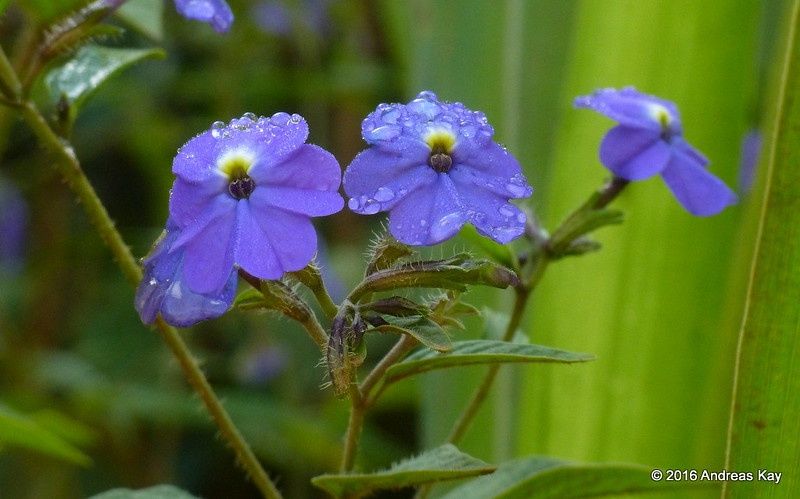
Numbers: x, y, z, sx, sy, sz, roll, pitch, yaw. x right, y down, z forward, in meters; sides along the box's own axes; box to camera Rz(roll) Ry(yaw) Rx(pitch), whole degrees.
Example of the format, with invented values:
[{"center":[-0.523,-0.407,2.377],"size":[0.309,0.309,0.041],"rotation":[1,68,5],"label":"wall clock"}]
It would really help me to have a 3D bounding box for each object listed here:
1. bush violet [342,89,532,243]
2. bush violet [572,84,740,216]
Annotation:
[{"center":[0.061,-0.131,1.439],"size":[0.307,0.245,0.140],"rotation":[-4,7,6],"label":"bush violet"},{"center":[0.451,-0.175,1.513],"size":[0.258,0.233,0.144],"rotation":[-2,8,22],"label":"bush violet"}]
